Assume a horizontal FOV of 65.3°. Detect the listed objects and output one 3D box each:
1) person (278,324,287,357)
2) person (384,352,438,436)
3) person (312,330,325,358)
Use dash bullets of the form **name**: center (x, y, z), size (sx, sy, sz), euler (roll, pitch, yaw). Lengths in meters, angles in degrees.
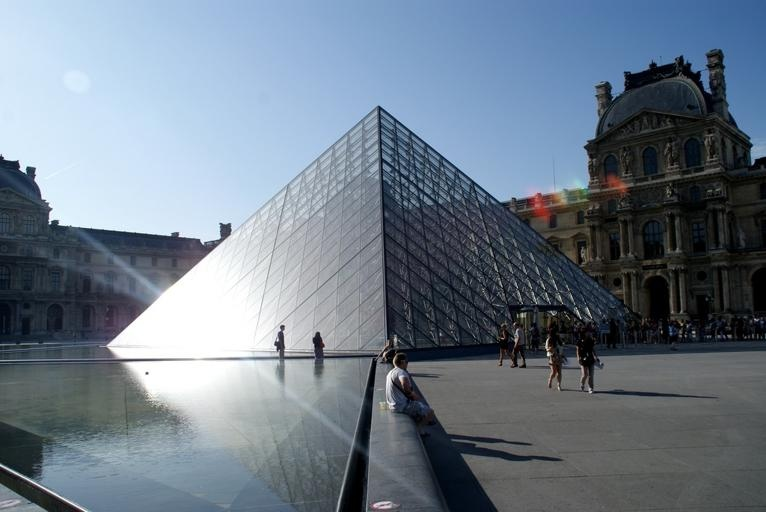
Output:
- **person**: center (-4.019, 3.266, 23.405), size (0.304, 1.318, 1.784), euler (0, -9, -11)
- **person**: center (0.425, 2.164, 9.679), size (0.551, 1.244, 0.879), euler (6, -11, -40)
- **person**: center (-2.411, 3.247, 22.327), size (0.416, 0.997, 1.176), euler (-1, -9, -7)
